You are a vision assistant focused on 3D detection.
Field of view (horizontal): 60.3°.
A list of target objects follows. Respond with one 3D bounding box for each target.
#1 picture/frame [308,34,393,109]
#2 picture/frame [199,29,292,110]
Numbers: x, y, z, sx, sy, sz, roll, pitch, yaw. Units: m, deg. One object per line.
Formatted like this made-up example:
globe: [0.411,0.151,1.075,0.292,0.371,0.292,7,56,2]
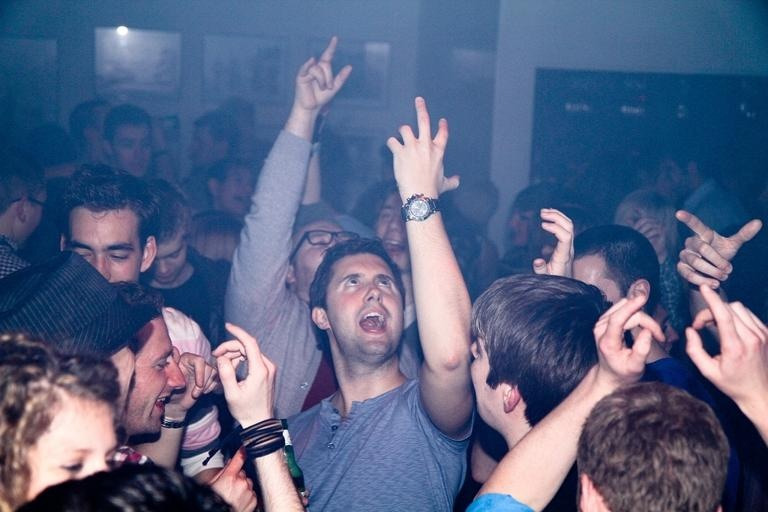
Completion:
picture/frame: [-0.158,-1.473,5.339,0.979,0.645,0.189,1,12,-12]
picture/frame: [-1.037,-1.368,4.794,0.714,0.492,0.091,-1,7,-11]
